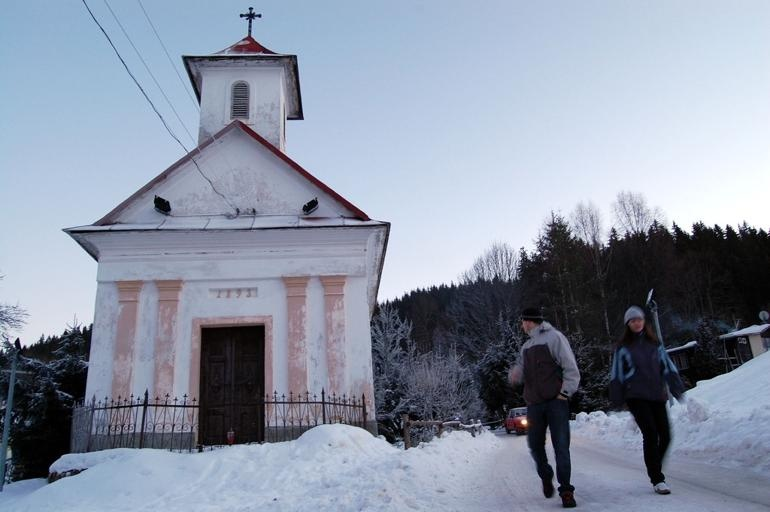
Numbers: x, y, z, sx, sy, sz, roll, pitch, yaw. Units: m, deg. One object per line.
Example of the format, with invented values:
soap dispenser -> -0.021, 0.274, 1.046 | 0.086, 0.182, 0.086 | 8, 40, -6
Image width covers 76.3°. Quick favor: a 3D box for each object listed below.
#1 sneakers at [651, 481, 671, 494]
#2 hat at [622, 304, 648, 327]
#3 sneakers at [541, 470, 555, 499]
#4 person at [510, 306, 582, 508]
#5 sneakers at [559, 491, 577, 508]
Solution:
sneakers -> 4.001, 3.343, 7.070 | 0.222, 0.187, 0.233 | -3, -1, 29
hat -> 4.023, 0.959, 7.887 | 0.288, 0.306, 0.392 | -19, -27, 19
sneakers -> 2.443, 3.423, 7.393 | 0.149, 0.468, 0.192 | -2, -3, 35
person -> 2.460, 2.236, 7.368 | 0.707, 3.050, 1.154 | -2, -1, -20
sneakers -> 2.555, 3.391, 6.815 | 0.108, 0.138, 0.338 | -11, -33, 10
